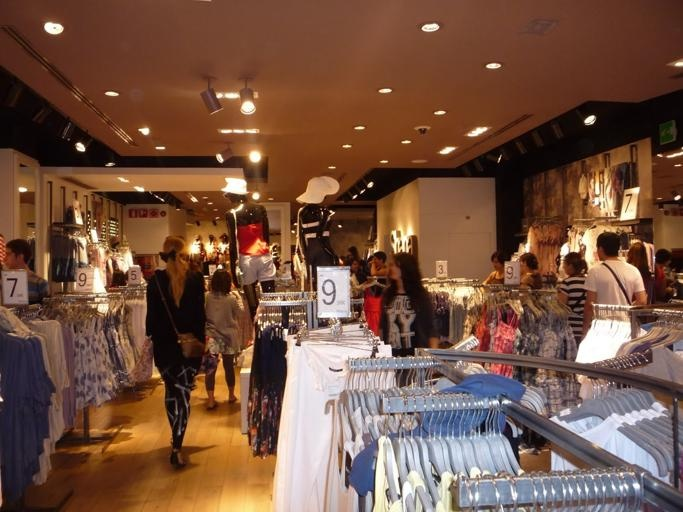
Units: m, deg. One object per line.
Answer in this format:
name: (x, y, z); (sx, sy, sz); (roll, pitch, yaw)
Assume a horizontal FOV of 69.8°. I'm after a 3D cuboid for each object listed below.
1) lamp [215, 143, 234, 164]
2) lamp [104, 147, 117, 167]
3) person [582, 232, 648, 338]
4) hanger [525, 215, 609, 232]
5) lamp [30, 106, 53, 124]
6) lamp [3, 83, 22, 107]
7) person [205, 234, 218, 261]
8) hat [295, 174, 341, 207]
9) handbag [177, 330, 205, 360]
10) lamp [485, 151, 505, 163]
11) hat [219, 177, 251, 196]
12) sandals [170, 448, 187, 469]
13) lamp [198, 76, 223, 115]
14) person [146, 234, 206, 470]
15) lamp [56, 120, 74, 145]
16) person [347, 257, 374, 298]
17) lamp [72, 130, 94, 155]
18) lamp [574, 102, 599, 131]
lamp: (-1.907, -1.675, 7.877); (0.232, 0.152, 0.254); (19, 29, 21)
lamp: (-3.930, -1.695, 8.339); (0.219, 0.270, 0.216); (5, 0, -21)
person: (2.419, 0.442, 4.406); (0.422, 1.441, 0.409); (-9, 23, 6)
hanger: (3.518, -0.550, 7.787); (0.877, 0.214, 1.557); (0, 0, 7)
lamp: (-3.788, -1.797, 6.161); (0.096, 0.129, 0.373); (-7, -15, -47)
lamp: (-3.754, -1.840, 5.584); (0.173, 0.211, 0.357); (0, 0, -43)
person: (-4.808, -0.343, 18.056); (0.440, 0.958, 1.933); (0, 0, -15)
hat: (-0.272, -0.735, 5.314); (0.389, 0.396, 0.885); (0, 0, -6)
handbag: (-1.344, 0.787, 4.313); (0.083, 0.211, 0.216); (-24, -12, 39)
lamp: (2.722, -1.760, 8.673); (0.259, 0.113, 0.553); (0, 0, 11)
hat: (-1.337, -0.877, 6.143); (0.242, 0.240, 0.319); (0, 0, -15)
sandals: (-1.464, 1.836, 4.456); (0.091, 0.201, 0.253); (1, -6, 4)
lamp: (-1.459, -1.808, 5.350); (0.152, 0.460, 0.163); (6, -19, -18)
person: (-1.462, 0.854, 4.421); (0.500, 2.046, 0.344); (0, 0, 15)
lamp: (-3.815, -1.754, 6.775); (0.171, 0.186, 0.361); (0, 0, -30)
person: (0.309, 0.451, 9.481); (0.287, 0.945, 0.241); (-4, 28, 1)
lamp: (-3.940, -1.750, 7.436); (0.176, 0.183, 0.306); (27, 3, -40)
lamp: (3.237, -1.843, 6.463); (0.295, 0.268, 0.645); (0, 0, 28)
